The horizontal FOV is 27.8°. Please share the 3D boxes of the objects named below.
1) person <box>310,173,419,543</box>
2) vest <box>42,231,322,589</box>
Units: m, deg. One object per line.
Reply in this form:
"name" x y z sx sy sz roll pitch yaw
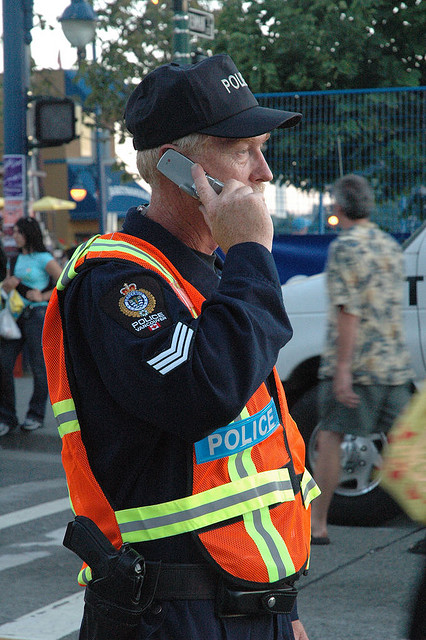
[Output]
"person" 0.810 0.189 4.606 0.563 1.963 0.594 -1 3 12
"vest" -0.078 0.177 1.681 0.549 0.697 0.345 -1 3 4
